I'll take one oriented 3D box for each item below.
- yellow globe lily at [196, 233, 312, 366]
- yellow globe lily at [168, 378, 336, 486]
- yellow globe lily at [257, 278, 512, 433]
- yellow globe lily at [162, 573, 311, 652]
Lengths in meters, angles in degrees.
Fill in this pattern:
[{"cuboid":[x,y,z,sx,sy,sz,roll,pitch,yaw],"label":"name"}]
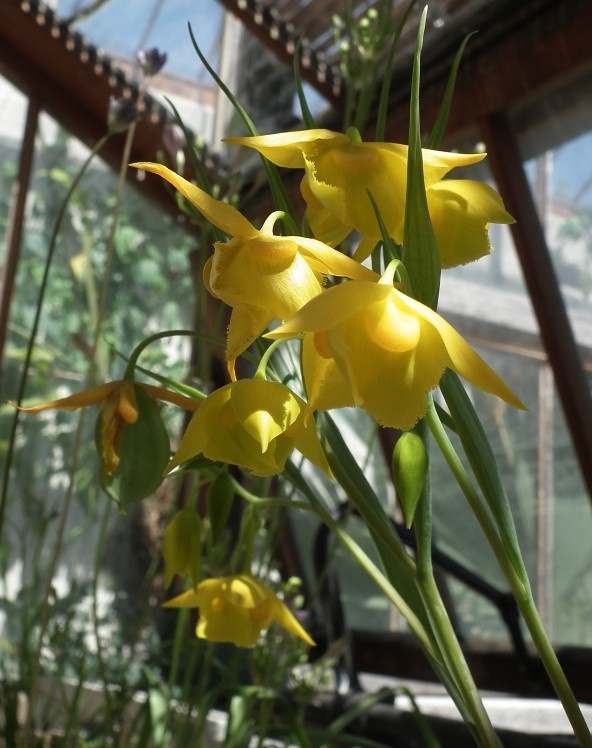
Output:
[{"cuboid":[-0.025,-0.056,0.615,0.084,0.081,0.040,-29,15,8],"label":"yellow globe lily"},{"cuboid":[-0.031,0.041,0.620,0.087,0.067,0.071,-24,-46,24],"label":"yellow globe lily"},{"cuboid":[0.064,-0.015,0.584,0.113,0.089,0.114,17,-4,-8],"label":"yellow globe lily"},{"cuboid":[-0.053,0.198,0.646,0.079,0.032,0.077,31,-43,-21],"label":"yellow globe lily"}]
